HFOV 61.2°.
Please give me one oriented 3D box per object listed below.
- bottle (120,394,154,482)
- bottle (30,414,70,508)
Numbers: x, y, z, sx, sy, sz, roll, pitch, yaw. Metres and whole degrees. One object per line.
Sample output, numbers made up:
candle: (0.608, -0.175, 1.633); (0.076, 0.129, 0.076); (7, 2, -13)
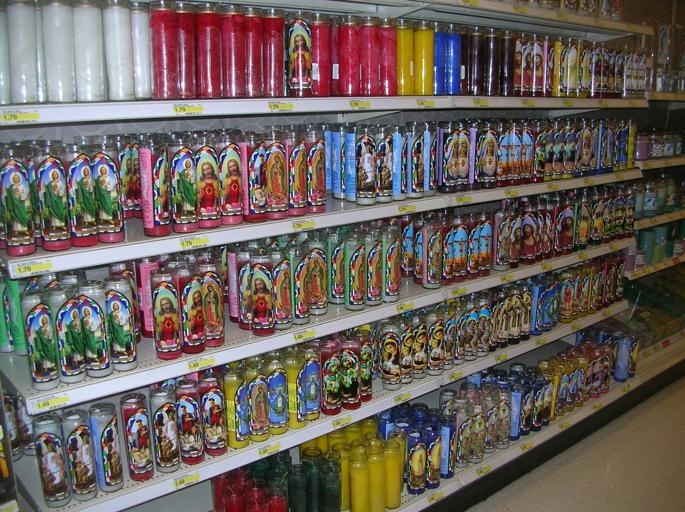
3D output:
bottle: (-0.853, 0.753, 2.407); (0.118, 0.359, 0.149); (-10, -15, -24)
bottle: (-1.142, 0.805, 2.276); (0.098, 0.355, 0.107); (-15, -14, -4)
